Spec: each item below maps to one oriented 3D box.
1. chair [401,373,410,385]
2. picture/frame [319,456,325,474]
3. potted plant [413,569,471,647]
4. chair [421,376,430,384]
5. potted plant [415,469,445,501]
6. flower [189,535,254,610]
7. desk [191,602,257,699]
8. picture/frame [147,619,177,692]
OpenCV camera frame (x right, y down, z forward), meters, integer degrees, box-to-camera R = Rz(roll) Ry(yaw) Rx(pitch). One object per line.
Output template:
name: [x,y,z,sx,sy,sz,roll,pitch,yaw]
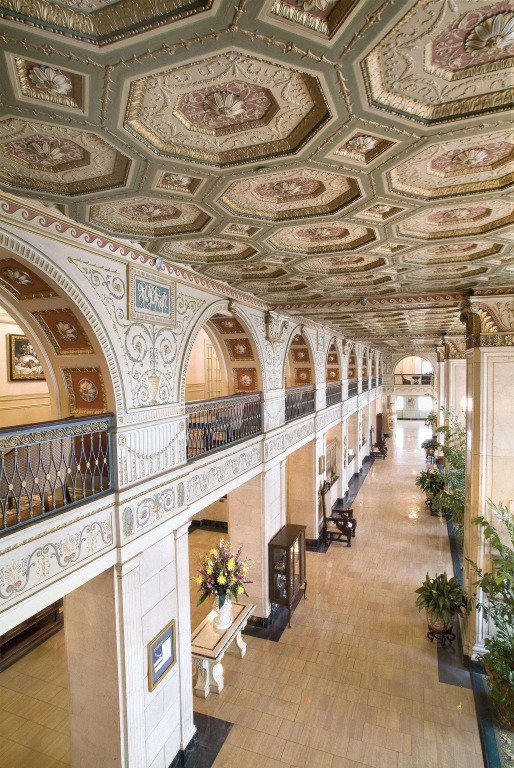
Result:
chair: [10.421,-0.585,33.531,0.598,1.118,1.145,-1,-1,23]
picture/frame: [1.710,2.119,12.754,0.077,0.551,0.572,-1,-1,17]
potted plant: [3.079,3.742,8.016,0.770,1.108,0.880,-5,5,-16]
chair: [11.248,-0.358,31.973,0.540,0.536,0.956,0,2,16]
potted plant: [5.427,3.172,15.096,0.908,0.938,0.938,8,47,29]
flower: [-0.520,2.791,6.971,0.627,0.918,0.767,0,2,22]
desk: [-0.561,3.908,7.244,0.624,0.699,1.454,0,4,20]
picture/frame: [-1.011,2.918,5.232,0.043,0.565,0.486,23,27,-28]
